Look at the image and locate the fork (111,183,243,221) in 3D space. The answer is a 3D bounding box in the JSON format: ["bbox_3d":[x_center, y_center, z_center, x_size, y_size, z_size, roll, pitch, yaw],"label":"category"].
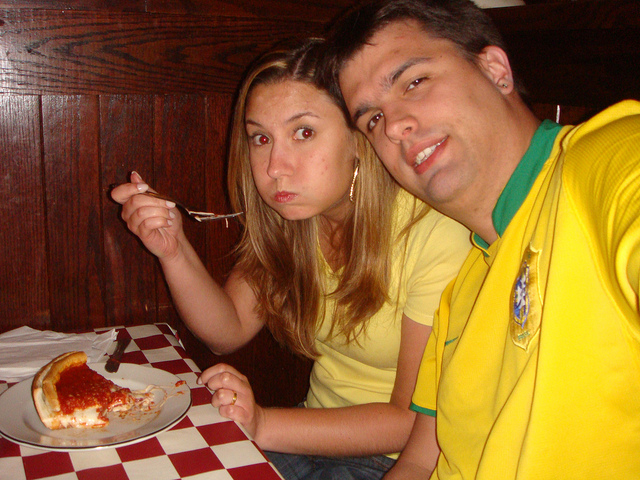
[{"bbox_3d":[-0.473,-0.109,1.798,0.383,0.066,0.078,14,-20,-23],"label":"fork"}]

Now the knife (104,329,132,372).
[{"bbox_3d":[-0.578,0.316,1.595,0.045,0.019,0.181,20,30,-6],"label":"knife"}]

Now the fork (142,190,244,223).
[{"bbox_3d":[-0.451,-0.123,1.951,0.278,0.049,0.057,16,22,-16],"label":"fork"}]

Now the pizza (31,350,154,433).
[{"bbox_3d":[-0.561,0.361,1.364,0.259,0.111,0.284,10,12,-3],"label":"pizza"}]
